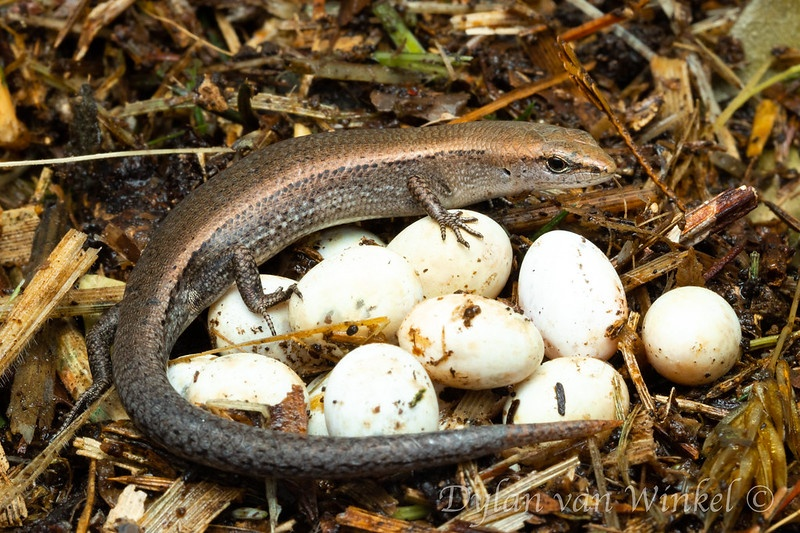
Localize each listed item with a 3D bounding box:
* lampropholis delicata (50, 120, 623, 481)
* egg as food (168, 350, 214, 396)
[{"bbox_3d":[-0.252,0.080,4.661,2.414,0.647,3.090,28,53,19],"label":"lampropholis delicata"},{"bbox_3d":[-1.215,0.611,4.370,0.199,0.240,0.130,-1,102,10],"label":"egg as food"}]
